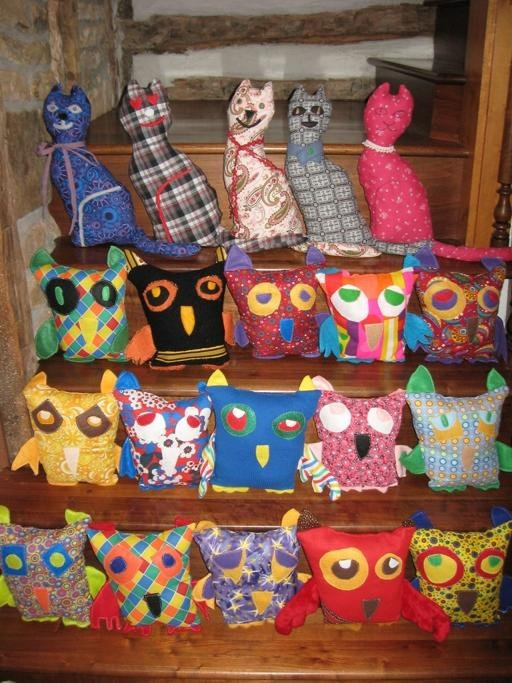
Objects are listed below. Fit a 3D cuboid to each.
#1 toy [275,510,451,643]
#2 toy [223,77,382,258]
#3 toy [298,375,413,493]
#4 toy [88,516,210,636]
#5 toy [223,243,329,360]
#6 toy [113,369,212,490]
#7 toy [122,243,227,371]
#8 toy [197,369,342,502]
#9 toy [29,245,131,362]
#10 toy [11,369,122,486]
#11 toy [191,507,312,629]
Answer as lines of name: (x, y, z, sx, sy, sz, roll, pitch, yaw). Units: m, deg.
toy: (0.297, 0.666, 1.755, 0.434, 0.250, 0.104, -1, 28, 1)
toy: (0.150, -0.615, 2.266, 0.536, 0.643, 0.236, -6, 21, -1)
toy: (0.298, 0.287, 1.919, 0.416, 0.348, 0.160, -1, 10, 3)
toy: (-0.306, 0.668, 1.776, 0.401, 0.334, 0.142, -1, 10, -5)
toy: (0.064, -0.118, 2.103, 0.415, 0.395, 0.192, -6, 14, -7)
toy: (-0.286, 0.277, 1.921, 0.397, 0.348, 0.158, 4, 11, 4)
toy: (-0.275, -0.095, 2.091, 0.503, 0.417, 0.195, -4, 0, -15)
toy: (0.036, 0.296, 1.898, 0.434, 0.346, 0.179, 1, 20, -2)
toy: (-0.593, -0.114, 2.107, 0.455, 0.459, 0.196, -1, 14, -9)
toy: (-0.588, 0.268, 1.958, 0.419, 0.323, 0.102, 2, 16, -3)
toy: (-0.011, 0.643, 1.768, 0.379, 0.295, 0.143, -3, 15, -9)
